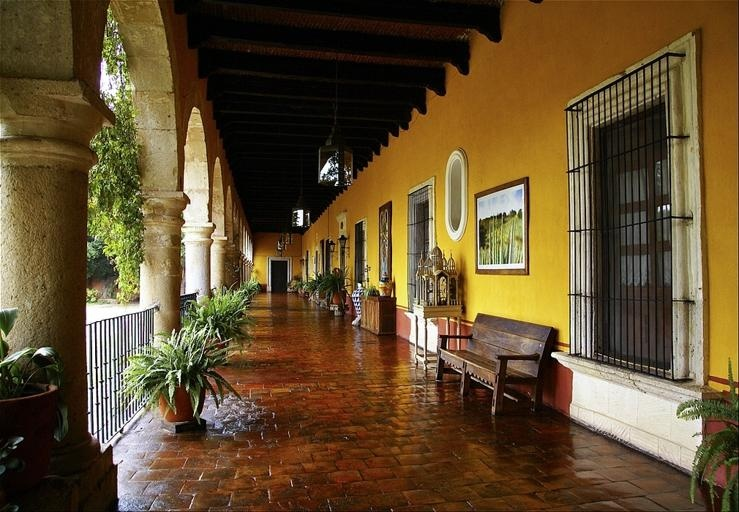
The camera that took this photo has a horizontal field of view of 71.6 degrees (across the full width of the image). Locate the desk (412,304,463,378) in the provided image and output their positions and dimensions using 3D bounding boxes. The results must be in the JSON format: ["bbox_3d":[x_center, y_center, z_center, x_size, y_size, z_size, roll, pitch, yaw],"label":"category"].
[{"bbox_3d":[0.960,1.153,7.183,0.422,0.943,0.605,3,1,-14],"label":"desk"}]

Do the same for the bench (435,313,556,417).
[{"bbox_3d":[1.334,1.172,5.846,0.643,0.957,1.586,7,-3,-17],"label":"bench"}]

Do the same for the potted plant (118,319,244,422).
[{"bbox_3d":[-1.811,1.042,4.973,0.930,0.766,1.009,0,1,-3],"label":"potted plant"}]

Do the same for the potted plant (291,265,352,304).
[{"bbox_3d":[-0.953,0.989,15.156,1.245,1.374,2.021,4,-2,-14],"label":"potted plant"}]

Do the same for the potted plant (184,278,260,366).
[{"bbox_3d":[-2.162,0.910,7.810,1.180,0.936,1.232,-3,1,27],"label":"potted plant"}]

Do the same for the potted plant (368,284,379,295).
[{"bbox_3d":[0.085,0.704,10.707,0.163,0.258,0.162,-2,-15,0],"label":"potted plant"}]
